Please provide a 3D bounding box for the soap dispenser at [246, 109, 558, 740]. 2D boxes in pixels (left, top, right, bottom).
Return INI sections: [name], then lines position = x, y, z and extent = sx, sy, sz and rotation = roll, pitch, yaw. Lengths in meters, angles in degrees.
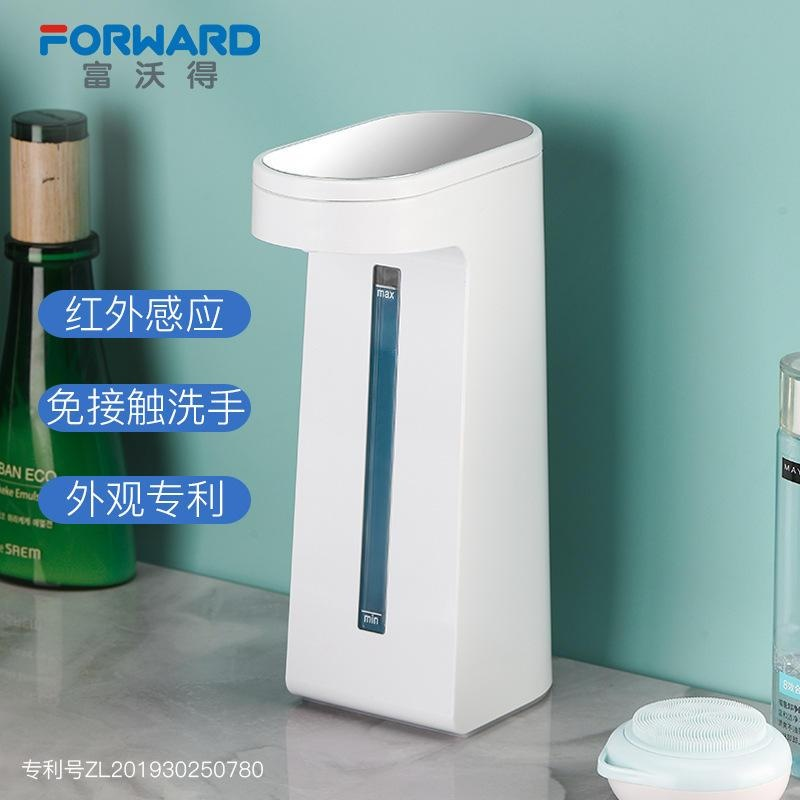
[soap dispenser]
position = -0.011, 0.020, 0.598
extent = 0.146, 0.390, 0.184
rotation = 5, 13, 35
